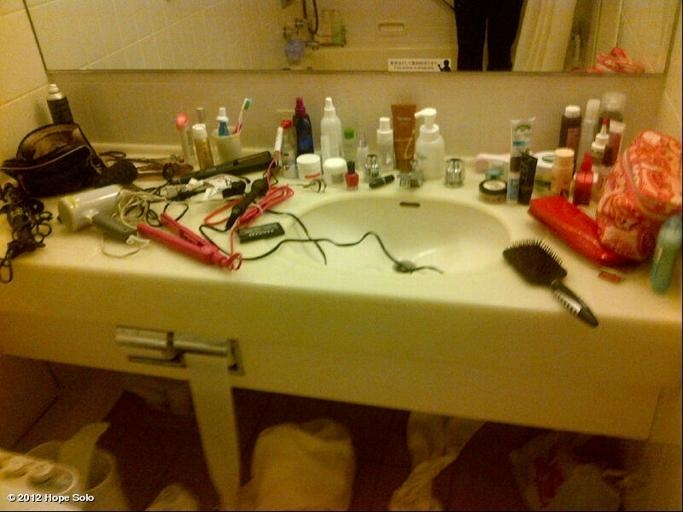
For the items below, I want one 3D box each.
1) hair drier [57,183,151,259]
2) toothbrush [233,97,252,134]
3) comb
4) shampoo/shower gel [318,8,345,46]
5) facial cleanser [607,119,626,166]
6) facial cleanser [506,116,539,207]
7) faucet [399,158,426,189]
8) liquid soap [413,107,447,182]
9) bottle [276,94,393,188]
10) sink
[{"bbox_3d":[-0.588,-0.082,1.288,0.192,0.067,0.202,-19,61,-34],"label":"hair drier"},{"bbox_3d":[-0.297,-0.423,1.553,0.026,0.118,0.011,9,13,-44],"label":"toothbrush"},{"bbox_3d":[0.439,0.051,1.100,0.089,0.186,0.199,16,-13,-40],"label":"comb"},{"bbox_3d":[-0.025,-0.606,1.387,0.076,0.056,0.076,8,-10,-2],"label":"shampoo/shower gel"},{"bbox_3d":[0.678,-0.287,1.299,0.036,0.129,0.062,2,-11,27],"label":"facial cleanser"},{"bbox_3d":[0.418,-0.239,1.315,0.071,0.206,0.110,-1,25,3],"label":"facial cleanser"},{"bbox_3d":[0.193,-0.222,1.417,0.074,0.090,0.029,8,-10,-7],"label":"faucet"},{"bbox_3d":[0.232,-0.297,1.404,0.085,0.194,0.065,-6,35,-4],"label":"liquid soap"},{"bbox_3d":[-0.082,-0.315,1.361,0.268,0.265,0.115,0,32,-1],"label":"bottle"},{"bbox_3d":[0.156,-0.058,1.369,0.523,0.211,0.135,5,-10,12],"label":"sink"}]
